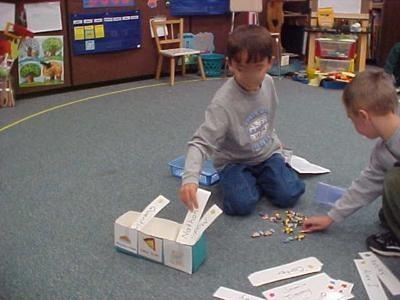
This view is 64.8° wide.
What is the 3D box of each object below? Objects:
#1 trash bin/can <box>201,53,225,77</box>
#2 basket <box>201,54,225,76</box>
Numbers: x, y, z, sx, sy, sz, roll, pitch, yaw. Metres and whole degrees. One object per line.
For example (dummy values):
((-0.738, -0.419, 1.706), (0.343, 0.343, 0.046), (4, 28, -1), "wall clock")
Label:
((0.177, -1.221, 4.627), (0.324, 0.247, 0.343), (1, 27, 4), "trash bin/can")
((0.171, -1.221, 4.627), (0.319, 0.243, 0.338), (1, 27, 4), "basket")
